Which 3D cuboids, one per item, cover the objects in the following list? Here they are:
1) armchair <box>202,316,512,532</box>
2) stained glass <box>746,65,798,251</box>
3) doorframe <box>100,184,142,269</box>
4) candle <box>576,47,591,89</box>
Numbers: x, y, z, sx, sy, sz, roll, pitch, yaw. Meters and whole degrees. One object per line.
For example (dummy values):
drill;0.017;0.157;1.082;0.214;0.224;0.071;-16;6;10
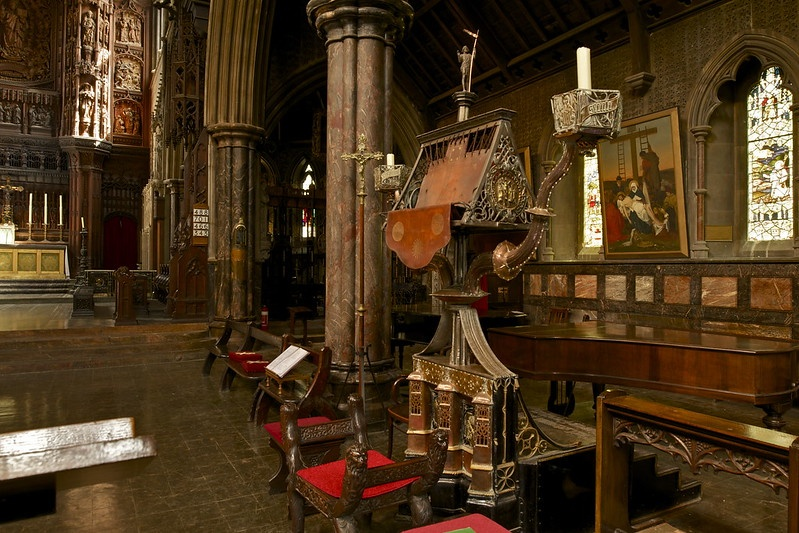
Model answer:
armchair;-0.770;1.464;6.262;1.111;1.338;3.584;1;2;-29
stained glass;5.735;-1.709;9.495;0.639;2.660;0.316;1;0;38
doorframe;-11.389;-1.462;25.010;1.668;4.729;0.435;-1;41;-26
candle;1.477;-1.568;4.872;0.078;0.319;0.083;0;7;41
